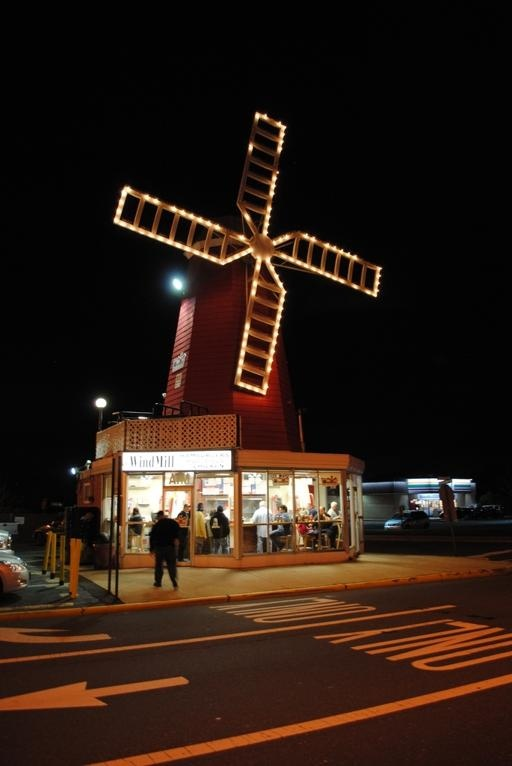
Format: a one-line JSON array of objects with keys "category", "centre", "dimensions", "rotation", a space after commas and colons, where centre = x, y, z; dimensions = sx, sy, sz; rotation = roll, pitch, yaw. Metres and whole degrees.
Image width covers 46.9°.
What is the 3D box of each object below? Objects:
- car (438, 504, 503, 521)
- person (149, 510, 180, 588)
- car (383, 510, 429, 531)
[{"category": "car", "centre": [22.322, 12.976, 58.835], "dimensions": [2.811, 1.444, 7.287], "rotation": [-7, -15, 38]}, {"category": "person", "centre": [-1.975, 3.603, 12.768], "dimensions": [0.633, 1.557, 0.902], "rotation": [3, -11, -9]}, {"category": "car", "centre": [10.897, 9.968, 42.330], "dimensions": [2.524, 1.299, 1.571], "rotation": [7, -14, -29]}]
